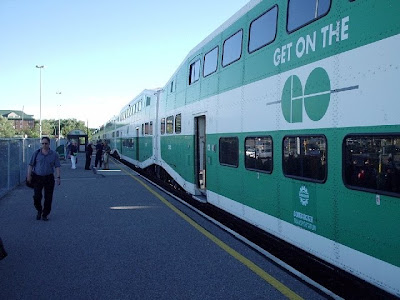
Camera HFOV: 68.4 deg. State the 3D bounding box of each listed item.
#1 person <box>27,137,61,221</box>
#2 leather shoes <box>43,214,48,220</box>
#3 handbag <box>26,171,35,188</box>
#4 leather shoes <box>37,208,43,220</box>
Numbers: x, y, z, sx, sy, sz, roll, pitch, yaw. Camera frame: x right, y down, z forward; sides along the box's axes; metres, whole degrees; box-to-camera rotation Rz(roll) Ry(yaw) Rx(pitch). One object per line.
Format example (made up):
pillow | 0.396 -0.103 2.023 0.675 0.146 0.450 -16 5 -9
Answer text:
person | -4.099 0.758 7.745 0.766 2.223 0.466 -2 3 -32
leather shoes | -4.066 1.768 7.778 0.100 0.182 0.158 1 -1 -22
handbag | -4.358 0.777 7.609 0.186 0.441 0.197 -2 4 -32
leather shoes | -4.274 1.723 7.885 0.107 0.288 0.344 1 6 -31
